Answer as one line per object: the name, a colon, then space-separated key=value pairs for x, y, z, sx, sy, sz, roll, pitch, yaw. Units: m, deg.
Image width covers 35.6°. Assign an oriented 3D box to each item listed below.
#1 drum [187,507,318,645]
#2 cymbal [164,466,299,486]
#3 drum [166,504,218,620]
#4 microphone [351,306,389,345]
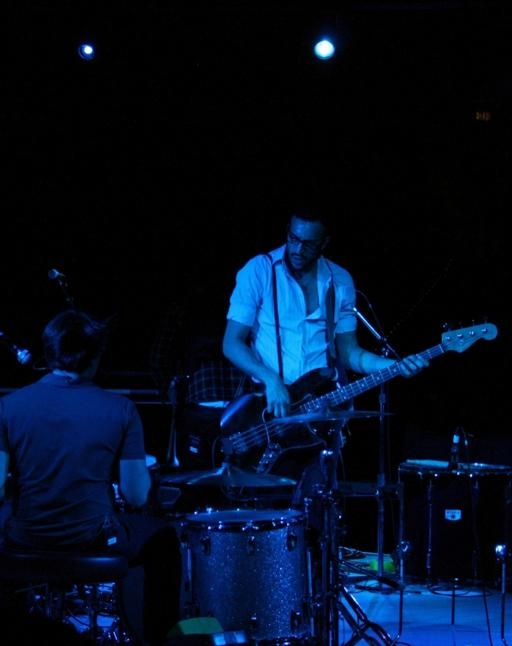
drum: x=-0.035 y=0.914 z=3.070 sx=0.417 sy=0.471 sz=0.468 roll=1 pitch=-8 yaw=-6
cymbal: x=-0.107 y=0.600 z=3.112 sx=0.518 sy=0.075 sz=0.239 roll=4 pitch=-15 yaw=-6
drum: x=-0.261 y=0.923 z=3.083 sx=0.258 sy=0.411 sz=0.329 roll=3 pitch=-13 yaw=-22
microphone: x=0.796 y=0.018 z=5.451 sx=0.429 sy=0.094 sz=0.033 roll=42 pitch=-21 yaw=-17
